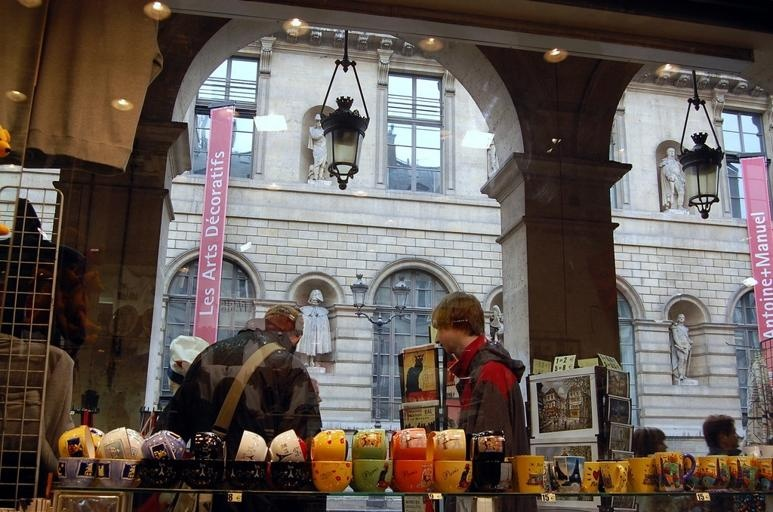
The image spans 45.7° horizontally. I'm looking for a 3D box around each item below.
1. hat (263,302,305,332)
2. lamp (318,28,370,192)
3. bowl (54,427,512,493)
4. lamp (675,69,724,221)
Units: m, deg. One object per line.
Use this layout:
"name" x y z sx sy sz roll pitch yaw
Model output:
"hat" -0.456 0.278 4.135 0.151 0.127 0.115 -1 1 -15
"lamp" -0.196 -0.703 4.402 0.235 0.788 0.072 1 -9 -2
"bowl" -0.215 0.828 3.726 1.487 0.248 0.159 2 -9 -6
"lamp" 1.596 -0.566 4.664 0.272 0.785 0.093 5 -10 -24
